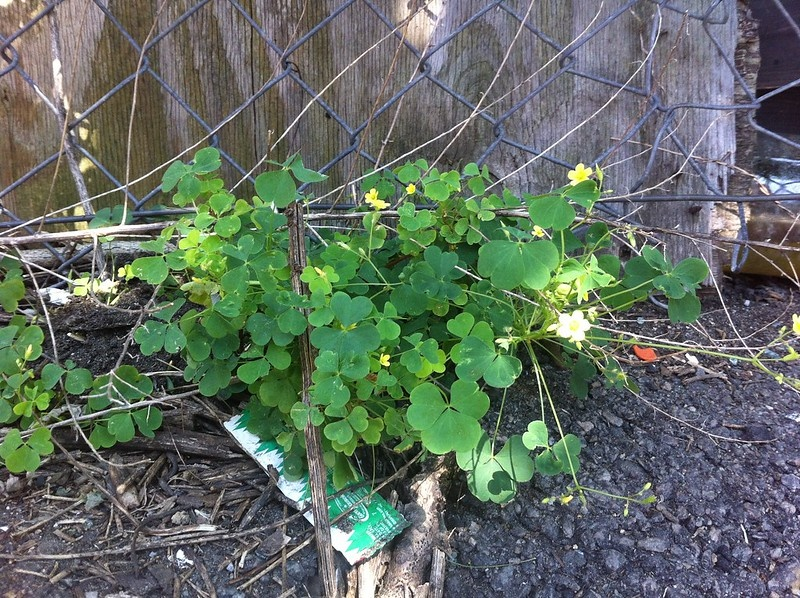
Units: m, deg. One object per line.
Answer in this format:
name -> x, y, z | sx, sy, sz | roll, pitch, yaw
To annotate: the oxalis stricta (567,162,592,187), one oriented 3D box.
oxalis stricta -> 0.543, -0.380, 1.794 | 0.059, 0.063, 0.149 | 21, 20, 9
